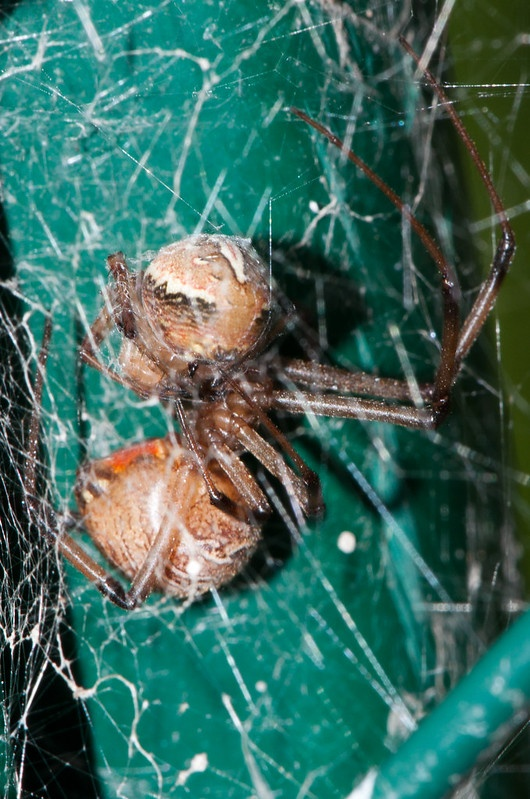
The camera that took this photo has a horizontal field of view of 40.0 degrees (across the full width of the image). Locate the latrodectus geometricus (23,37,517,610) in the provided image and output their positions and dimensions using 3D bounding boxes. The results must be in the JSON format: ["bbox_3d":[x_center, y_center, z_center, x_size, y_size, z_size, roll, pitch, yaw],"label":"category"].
[{"bbox_3d":[-0.076,0.033,0.648,0.115,0.389,0.467,2,30,6],"label":"latrodectus geometricus"}]
